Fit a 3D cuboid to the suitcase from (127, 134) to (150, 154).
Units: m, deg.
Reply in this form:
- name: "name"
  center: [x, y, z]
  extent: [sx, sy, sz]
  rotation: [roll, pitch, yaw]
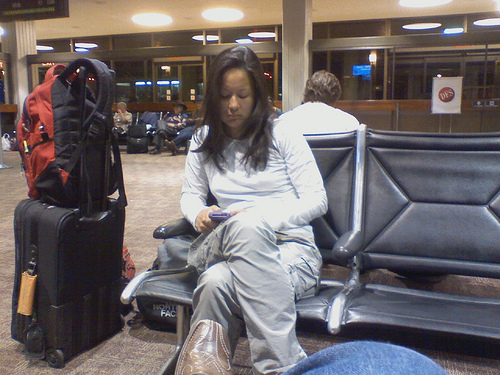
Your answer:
- name: "suitcase"
  center: [-3.103, -1.215, 11.840]
  extent: [0.583, 0.563, 0.445]
  rotation: [1, 6, 15]

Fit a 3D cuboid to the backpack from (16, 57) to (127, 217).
- name: "backpack"
  center: [-0.843, -0.240, 2.056]
  extent: [0.428, 0.687, 0.489]
  rotation: [0, 3, 17]

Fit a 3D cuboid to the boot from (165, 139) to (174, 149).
- name: "boot"
  center: [-2.092, -1.123, 11.035]
  extent: [0.146, 0.254, 0.312]
  rotation: [-7, 13, -38]

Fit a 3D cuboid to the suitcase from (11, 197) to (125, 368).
- name: "suitcase"
  center: [-0.827, 0.417, 1.941]
  extent: [0.496, 0.695, 0.311]
  rotation: [-3, 11, -17]

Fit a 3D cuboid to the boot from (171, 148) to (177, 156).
- name: "boot"
  center: [-2.011, -0.951, 11.216]
  extent: [0.142, 0.191, 0.406]
  rotation: [-1, 10, -11]

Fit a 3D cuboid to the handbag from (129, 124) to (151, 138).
- name: "handbag"
  center: [-3.006, -1.549, 11.624]
  extent: [0.597, 0.374, 0.327]
  rotation: [-3, 11, -20]
